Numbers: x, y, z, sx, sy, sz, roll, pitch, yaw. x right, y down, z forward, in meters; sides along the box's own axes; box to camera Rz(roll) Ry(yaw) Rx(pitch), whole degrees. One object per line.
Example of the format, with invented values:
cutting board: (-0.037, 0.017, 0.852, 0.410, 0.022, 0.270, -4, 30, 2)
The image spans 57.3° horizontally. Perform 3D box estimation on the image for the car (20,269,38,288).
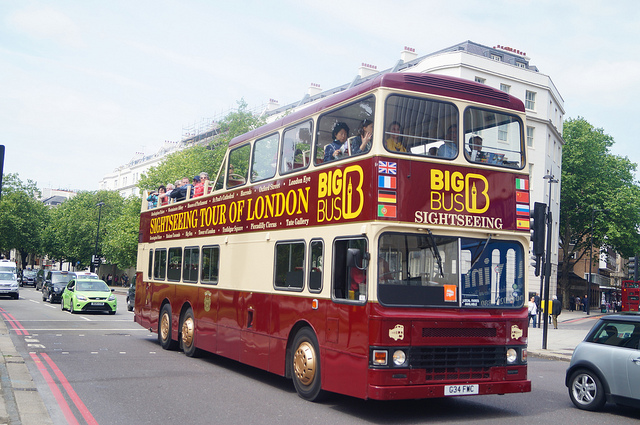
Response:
car: (-32.529, 7.456, 65.921, 1.876, 1.983, 3.742, 3, -9, -27)

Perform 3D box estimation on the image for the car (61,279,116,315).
car: (-11.769, 4.339, 30.320, 2.465, 1.780, 2.231, 4, -8, -21)

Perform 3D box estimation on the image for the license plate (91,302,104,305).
license plate: (-11.152, 4.576, 29.518, 0.566, 0.094, 0.099, 7, -10, -40)

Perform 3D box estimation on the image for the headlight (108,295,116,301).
headlight: (-10.657, 4.393, 30.111, 0.264, 0.129, 0.437, 0, 3, -11)

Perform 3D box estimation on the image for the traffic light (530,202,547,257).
traffic light: (7.061, 0.535, 18.552, 0.391, 1.605, 0.574, -10, 22, -10)

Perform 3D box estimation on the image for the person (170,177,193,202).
person: (-4.346, -0.673, 18.419, 0.901, 0.371, 0.731, -12, 13, -5)

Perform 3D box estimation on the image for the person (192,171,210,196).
person: (-3.495, -0.692, 17.234, 0.399, 0.840, 0.529, 12, 20, -16)
